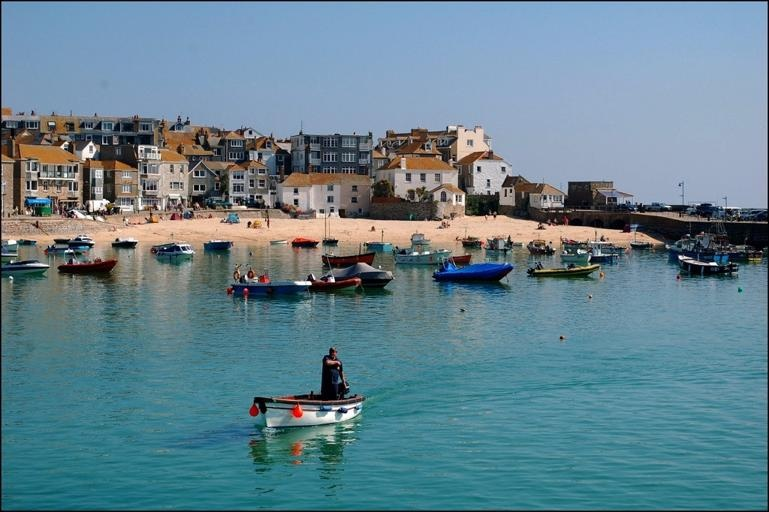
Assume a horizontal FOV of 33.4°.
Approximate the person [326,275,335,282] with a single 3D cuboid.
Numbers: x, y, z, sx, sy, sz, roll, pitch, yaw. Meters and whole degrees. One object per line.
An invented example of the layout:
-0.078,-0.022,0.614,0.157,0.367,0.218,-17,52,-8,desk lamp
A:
-4.628,2.139,113.867,0.728,0.645,1.670,0,0,-2,person
